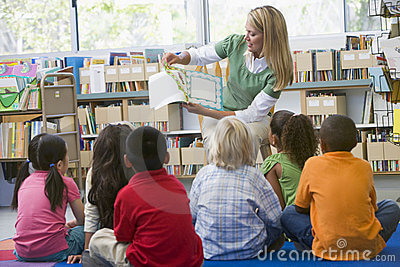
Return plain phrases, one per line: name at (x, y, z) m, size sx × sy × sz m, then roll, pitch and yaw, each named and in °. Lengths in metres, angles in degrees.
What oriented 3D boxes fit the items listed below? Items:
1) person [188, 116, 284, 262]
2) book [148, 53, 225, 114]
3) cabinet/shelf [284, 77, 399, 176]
person at (0.365, 0.302, 3.619) m, size 0.864 × 1.022 × 0.734 m, roll 0°, pitch 0°, yaw 13°
book at (-0.159, -0.298, 3.435) m, size 0.354 × 0.264 × 0.103 m, roll -2°, pitch -13°, yaw 18°
cabinet/shelf at (0.937, -0.027, 3.714) m, size 0.772 × 0.619 × 0.251 m, roll -1°, pitch -3°, yaw 16°
